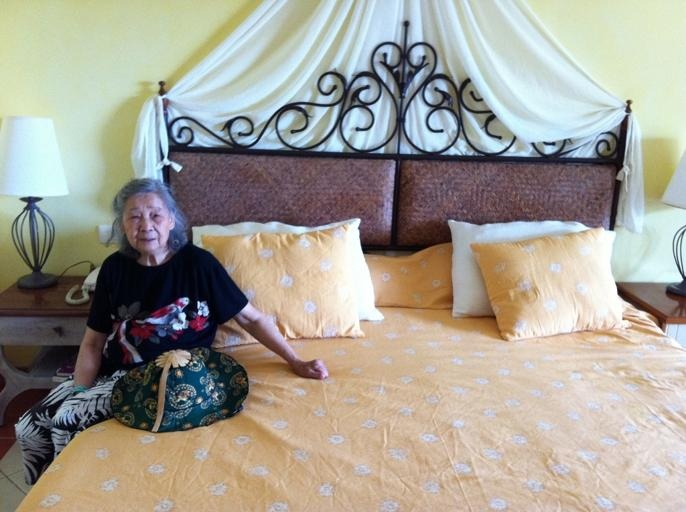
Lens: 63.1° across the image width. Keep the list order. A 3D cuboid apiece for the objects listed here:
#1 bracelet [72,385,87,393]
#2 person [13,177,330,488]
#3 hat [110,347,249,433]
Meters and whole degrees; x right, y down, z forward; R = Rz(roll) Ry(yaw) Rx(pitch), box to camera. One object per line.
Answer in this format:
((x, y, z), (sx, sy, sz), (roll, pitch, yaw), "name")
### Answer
((-1.077, 0.542, 2.278), (0.027, 0.020, 0.038), (1, -3, 11), "bracelet")
((-0.768, 0.370, 2.389), (1.080, 1.289, 0.821), (-6, 10, -36), "person")
((-0.633, 0.494, 2.171), (0.517, 0.256, 0.290), (-8, 15, -23), "hat")
